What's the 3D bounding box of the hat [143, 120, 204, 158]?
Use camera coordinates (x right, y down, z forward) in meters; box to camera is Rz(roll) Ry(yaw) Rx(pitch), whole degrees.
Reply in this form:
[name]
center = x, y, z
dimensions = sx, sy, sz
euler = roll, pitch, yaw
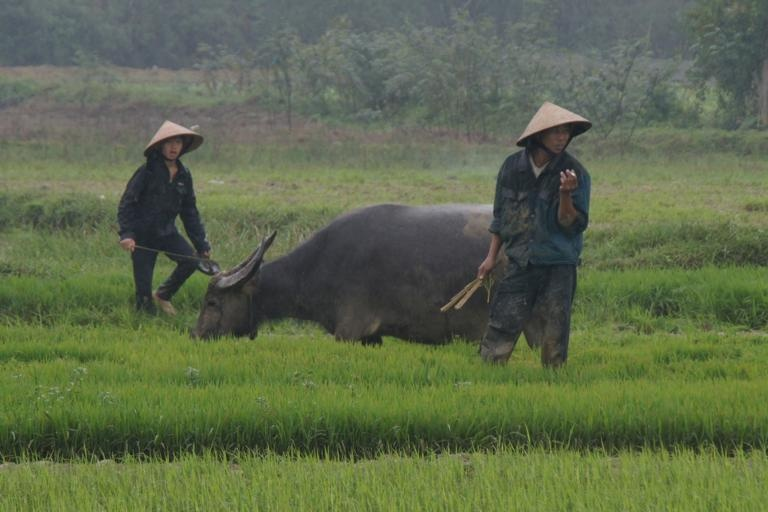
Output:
[hat]
center = -4.051, -2.435, 31.460
dimensions = 0.821, 0.387, 0.824
euler = -9, -17, -35
